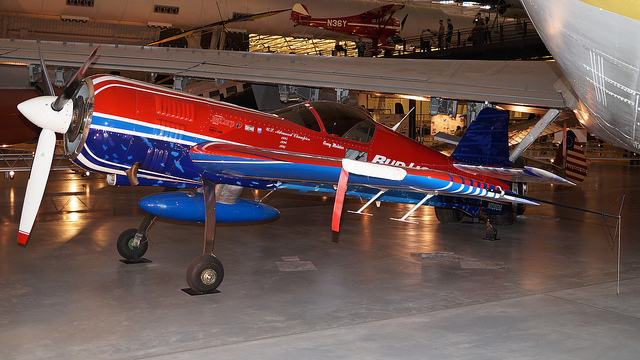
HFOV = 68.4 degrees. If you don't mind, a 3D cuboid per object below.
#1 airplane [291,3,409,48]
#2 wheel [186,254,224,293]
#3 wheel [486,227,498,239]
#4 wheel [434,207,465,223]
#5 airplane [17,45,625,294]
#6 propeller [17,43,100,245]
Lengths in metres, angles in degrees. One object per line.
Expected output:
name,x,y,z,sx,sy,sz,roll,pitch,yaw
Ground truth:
airplane,2.134,-11.523,34.417,6.124,1.375,5.963,-3,13,-22
wheel,-2.027,1.686,8.179,0.397,0.507,0.751,-13,-12,42
wheel,4.196,1.286,11.384,0.385,0.248,0.207,2,1,19
wheel,3.439,0.915,12.569,0.583,0.529,0.630,-2,24,1
airplane,-0.103,-0.311,10.044,10.997,2.312,9.960,1,11,-35
propeller,-4.476,-1.202,8.213,1.319,2.854,0.339,4,58,-23
